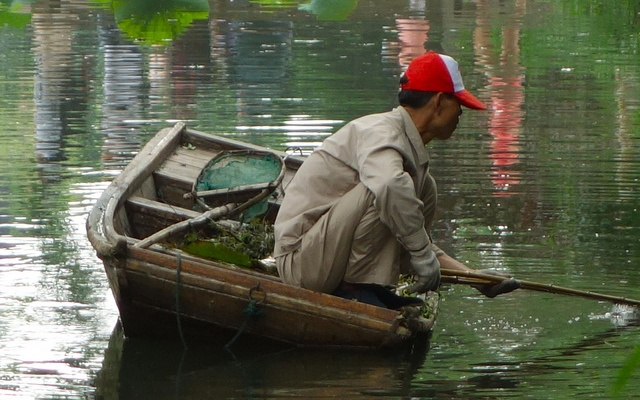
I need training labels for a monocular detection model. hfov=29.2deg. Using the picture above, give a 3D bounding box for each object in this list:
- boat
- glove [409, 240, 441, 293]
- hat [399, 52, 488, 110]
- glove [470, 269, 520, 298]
[{"bbox_3d":[-0.976,0.922,16.121,4.279,1.320,2.794,17,23,-3],"label":"boat"},{"bbox_3d":[1.382,0.860,15.356,0.528,0.543,0.238,0,11,30],"label":"glove"},{"bbox_3d":[1.522,-1.549,15.603,1.209,0.443,0.677,10,-1,-28],"label":"hat"},{"bbox_3d":[2.203,1.036,15.708,0.449,0.129,0.492,9,4,-25],"label":"glove"}]
